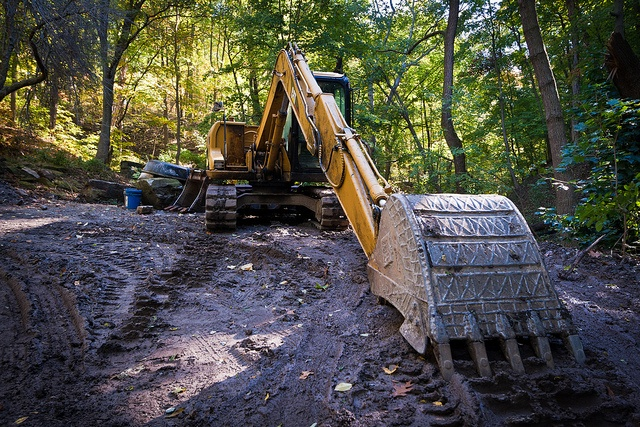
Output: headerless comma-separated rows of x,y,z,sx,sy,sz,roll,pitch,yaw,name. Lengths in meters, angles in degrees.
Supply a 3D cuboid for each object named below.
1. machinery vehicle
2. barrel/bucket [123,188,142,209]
0.469,-0.399,10.189,3.794,4.305,10.198,0,6,-25,machinery vehicle
-5.812,-0.456,13.746,0.604,0.717,0.596,1,0,0,barrel/bucket
